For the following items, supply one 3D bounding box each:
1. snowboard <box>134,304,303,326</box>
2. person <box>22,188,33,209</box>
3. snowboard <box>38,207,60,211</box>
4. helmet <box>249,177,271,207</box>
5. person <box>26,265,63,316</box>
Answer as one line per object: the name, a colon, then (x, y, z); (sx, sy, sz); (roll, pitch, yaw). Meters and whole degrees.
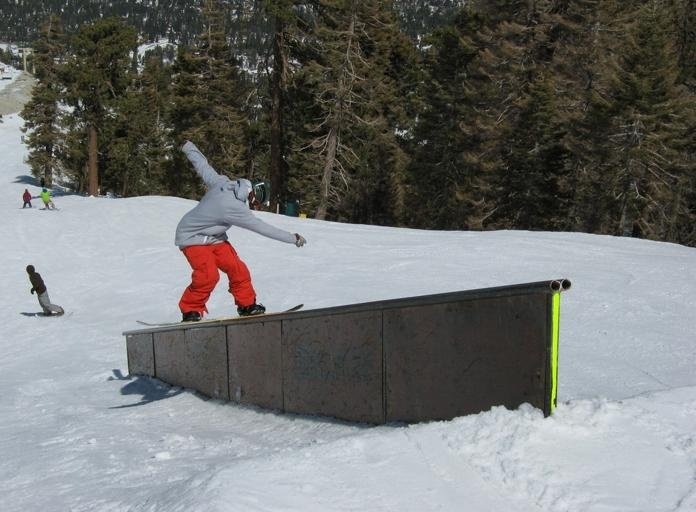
snowboard: (-3.309, 1.529, 23.694); (2.938, 0.238, 0.316); (-9, -36, 7)
person: (-16.492, -2.933, 46.403); (0.435, 0.890, 1.626); (-1, 5, -20)
snowboard: (-14.600, -2.298, 44.144); (0.877, 0.075, 0.244); (8, 31, 35)
helmet: (-2.101, -1.600, 22.408); (0.450, 0.571, 0.562); (17, -17, -23)
person: (-9.437, 1.051, 28.123); (0.916, 1.460, 1.490); (-2, 5, -25)
